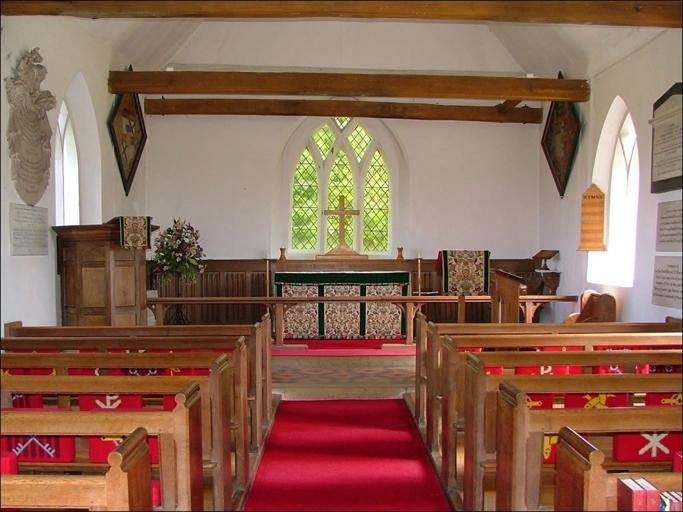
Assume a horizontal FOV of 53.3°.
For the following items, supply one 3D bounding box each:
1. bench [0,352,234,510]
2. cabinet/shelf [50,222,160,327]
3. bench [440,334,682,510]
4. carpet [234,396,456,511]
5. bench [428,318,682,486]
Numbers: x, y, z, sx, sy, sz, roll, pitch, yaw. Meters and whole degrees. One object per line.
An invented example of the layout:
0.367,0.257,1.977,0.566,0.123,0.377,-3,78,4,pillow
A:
-1.630,1.301,4.975,1.105,0.738,0.494,1,2,2,bench
-2.874,0.264,9.131,1.567,1.785,1.130,0,-3,-4,cabinet/shelf
1.745,1.191,5.146,1.348,0.693,1.446,-2,3,-2,bench
0.007,1.844,6.485,1.684,0.653,1.829,-1,0,-4,carpet
1.437,1.252,5.956,2.392,1.351,1.144,0,-5,0,bench
